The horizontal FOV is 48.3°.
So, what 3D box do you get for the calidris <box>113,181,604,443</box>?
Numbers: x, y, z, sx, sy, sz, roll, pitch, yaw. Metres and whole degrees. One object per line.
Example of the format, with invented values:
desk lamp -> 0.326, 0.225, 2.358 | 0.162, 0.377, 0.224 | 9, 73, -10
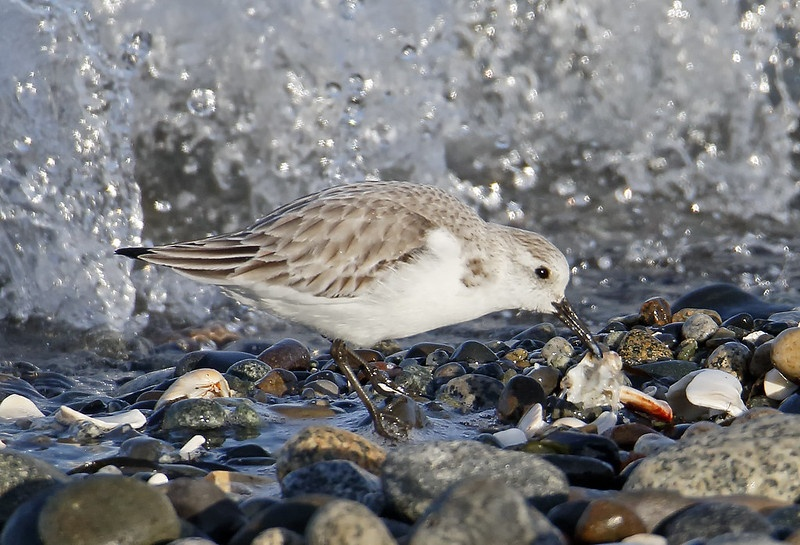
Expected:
calidris -> -0.203, 0.161, 7.053 | 3.536, 1.340, 1.562 | 6, 100, 10
